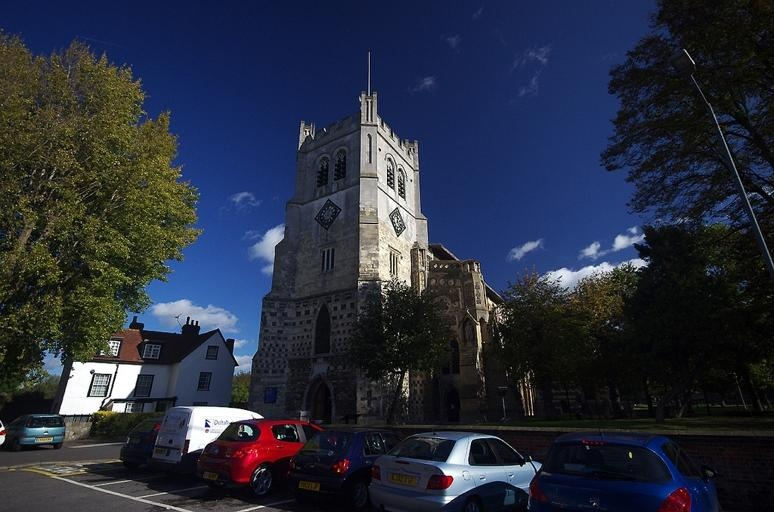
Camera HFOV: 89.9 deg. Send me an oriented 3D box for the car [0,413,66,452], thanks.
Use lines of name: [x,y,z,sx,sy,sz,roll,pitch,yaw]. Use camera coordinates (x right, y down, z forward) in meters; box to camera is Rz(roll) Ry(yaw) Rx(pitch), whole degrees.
car: [-20.818,10.536,22.976,2.647,1.895,1.178,10,-25,-20]
